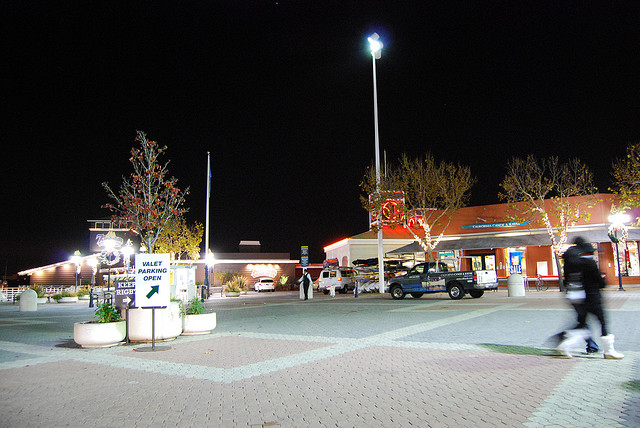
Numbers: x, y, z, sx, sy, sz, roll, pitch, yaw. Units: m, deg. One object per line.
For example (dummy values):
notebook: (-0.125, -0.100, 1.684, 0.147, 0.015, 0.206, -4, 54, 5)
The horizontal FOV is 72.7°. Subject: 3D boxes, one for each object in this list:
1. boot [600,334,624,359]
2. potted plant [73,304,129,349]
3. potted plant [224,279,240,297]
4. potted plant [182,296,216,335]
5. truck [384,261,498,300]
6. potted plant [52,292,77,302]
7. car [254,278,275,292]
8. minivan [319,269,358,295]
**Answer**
boot: (6.514, 3.036, 9.938, 0.630, 0.661, 0.329, -1, 0, -12)
potted plant: (-6.374, 3.391, 12.726, 1.325, 0.848, 1.366, -1, -13, -10)
potted plant: (-9.026, 7.694, 44.417, 1.287, 1.289, 1.328, 3, -12, -3)
potted plant: (-4.181, 3.493, 14.997, 1.168, 1.190, 1.197, 3, -10, -12)
truck: (7.759, 4.278, 27.613, 5.973, 2.254, 2.799, -5, -10, 36)
potted plant: (-21.568, 7.046, 36.813, 1.940, 0.842, 0.987, -8, -10, 26)
car: (-7.136, 9.119, 55.307, 1.843, 1.534, 4.119, 1, -4, -9)
minivan: (1.978, 6.403, 40.720, 2.088, 1.440, 3.073, -5, -6, 42)
